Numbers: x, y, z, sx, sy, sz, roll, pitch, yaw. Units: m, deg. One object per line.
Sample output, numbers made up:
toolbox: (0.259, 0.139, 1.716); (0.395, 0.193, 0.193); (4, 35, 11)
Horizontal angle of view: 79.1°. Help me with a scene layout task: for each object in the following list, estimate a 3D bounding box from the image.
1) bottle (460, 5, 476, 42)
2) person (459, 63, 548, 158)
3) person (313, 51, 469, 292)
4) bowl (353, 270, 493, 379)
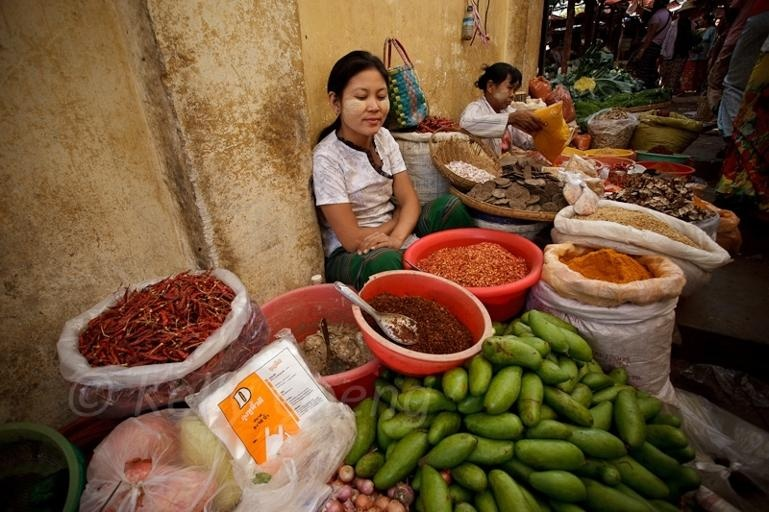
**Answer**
bottle: (1.005, -2.753, 5.490); (0.119, 0.392, 0.276); (11, 33, 26)
person: (1.220, -1.490, 4.993); (0.764, 1.032, 1.396); (1, 30, 10)
person: (-0.064, -0.543, 3.693); (0.975, 2.187, 0.968); (21, 37, 36)
bowl: (0.204, 0.470, 3.005); (0.709, 0.269, 0.701); (16, 31, -10)
